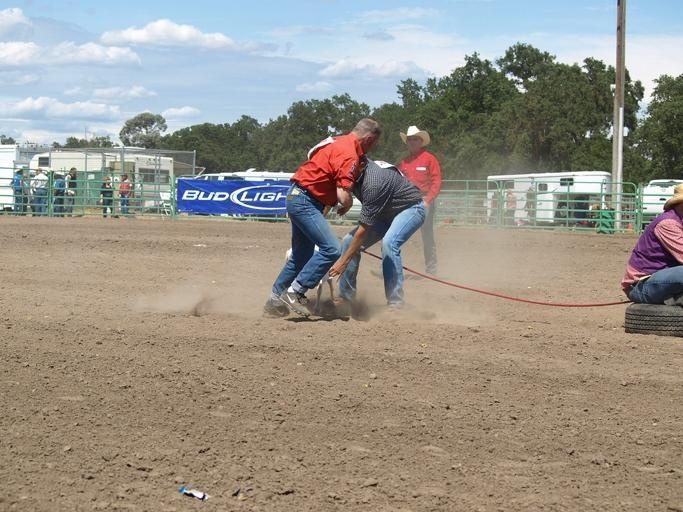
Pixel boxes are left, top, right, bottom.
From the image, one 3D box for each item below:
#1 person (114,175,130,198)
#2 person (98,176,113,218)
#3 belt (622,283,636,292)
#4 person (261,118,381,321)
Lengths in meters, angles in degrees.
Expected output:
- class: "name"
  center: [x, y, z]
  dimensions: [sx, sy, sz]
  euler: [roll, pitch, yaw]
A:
- class: "person"
  center: [-7.131, -2.284, 26.160]
  dimensions: [0.470, 0.696, 1.443]
  euler: [0, 1, -16]
- class: "person"
  center: [-7.580, -1.940, 25.823]
  dimensions: [0.419, 1.393, 1.552]
  euler: [0, 2, -17]
- class: "belt"
  center: [2.714, 0.306, 7.624]
  dimensions: [0.076, 0.075, 0.026]
  euler: [23, 45, 22]
- class: "person"
  center: [-0.179, -0.354, 7.703]
  dimensions: [1.015, 1.916, 0.534]
  euler: [2, 2, 43]
